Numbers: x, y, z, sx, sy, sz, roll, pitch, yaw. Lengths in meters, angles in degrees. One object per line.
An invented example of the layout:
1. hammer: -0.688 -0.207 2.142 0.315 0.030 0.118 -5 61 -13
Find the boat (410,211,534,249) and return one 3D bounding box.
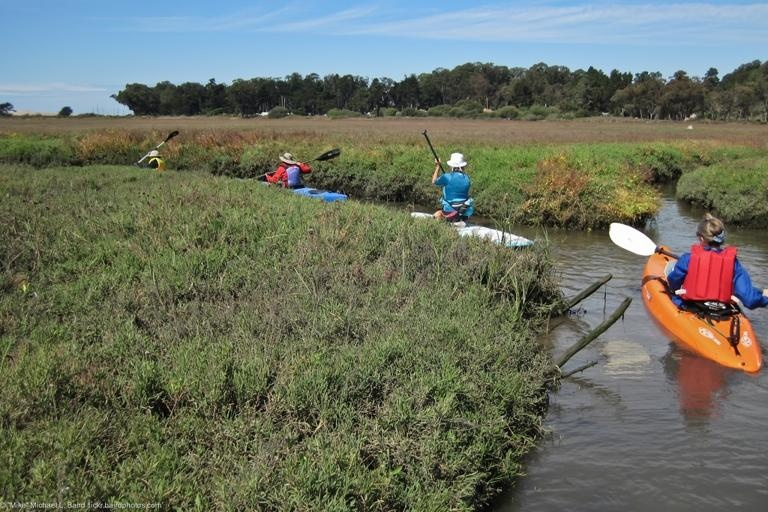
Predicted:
1. boat: 2.208 -0.521 14.708 1.108 0.451 3.565 -6 16 -29

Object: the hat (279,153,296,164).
1. hat: -3.051 -3.004 19.140 0.487 0.147 0.484 44 36 17

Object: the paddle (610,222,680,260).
1. paddle: 6.857 -0.379 16.315 0.274 0.535 1.954 22 14 -40

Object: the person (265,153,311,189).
1. person: -2.915 -2.630 19.265 1.095 1.175 3.677 -4 15 -7

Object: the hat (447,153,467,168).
1. hat: 1.933 -2.505 16.212 0.499 0.215 0.564 4 21 12
